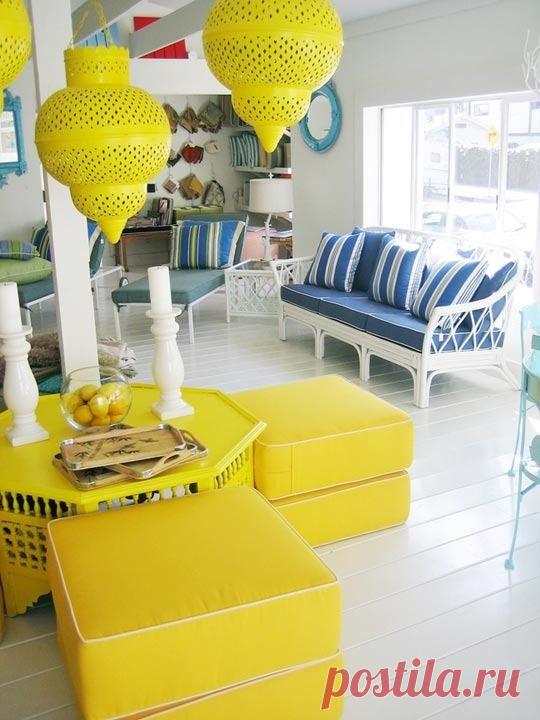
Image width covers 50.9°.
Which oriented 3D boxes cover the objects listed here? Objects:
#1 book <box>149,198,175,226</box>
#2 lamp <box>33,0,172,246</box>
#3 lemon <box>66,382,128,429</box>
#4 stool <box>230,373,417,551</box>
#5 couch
[{"bbox_3d":[-1.846,-2.487,9.604,0.334,0.529,0.574,-10,24,-30],"label":"book"},{"bbox_3d":[-0.313,-0.435,1.047,0.249,0.431,0.225,-7,14,-9],"label":"lamp"},{"bbox_3d":[-0.642,0.162,2.136,0.187,0.129,0.189,1,6,30],"label":"lemon"},{"bbox_3d":[0.171,0.365,2.597,0.725,0.529,0.690,-12,28,-25],"label":"stool"},{"bbox_3d":[1.015,-0.319,4.263,0.641,0.678,1.468,-10,20,-25],"label":"couch"}]
